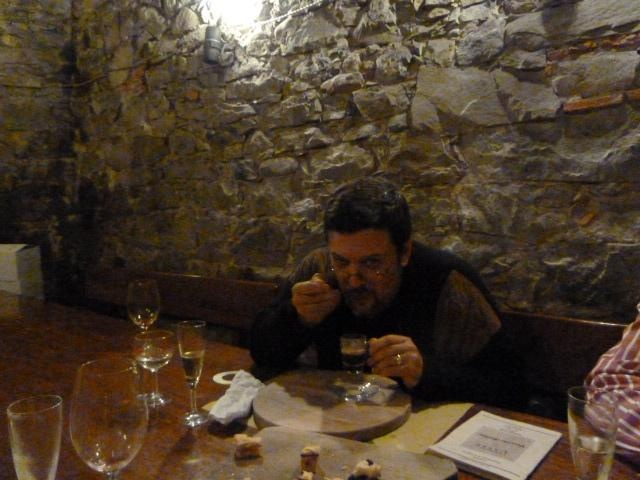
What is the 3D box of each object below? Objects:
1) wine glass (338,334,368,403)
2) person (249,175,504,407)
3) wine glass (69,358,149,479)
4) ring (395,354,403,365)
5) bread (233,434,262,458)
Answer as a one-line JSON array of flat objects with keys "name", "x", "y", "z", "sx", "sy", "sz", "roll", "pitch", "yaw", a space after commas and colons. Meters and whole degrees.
[{"name": "wine glass", "x": 0.116, "y": 0.383, "z": 1.652, "sx": 0.098, "sy": 0.189, "sz": 0.192, "roll": 6, "pitch": 10, "yaw": 7}, {"name": "person", "x": 0.216, "y": 0.201, "z": 2.087, "sx": 1.162, "sy": 0.894, "sz": 0.724, "roll": 2, "pitch": 2, "yaw": 34}, {"name": "wine glass", "x": -0.512, "y": 0.446, "z": 1.261, "sx": 0.162, "sy": 0.322, "sz": 0.218, "roll": 0, "pitch": 11, "yaw": -24}, {"name": "ring", "x": 0.252, "y": 0.381, "z": 1.655, "sx": 0.024, "sy": 0.031, "sz": 0.009, "roll": -3, "pitch": -9, "yaw": 18}, {"name": "bread", "x": -0.188, "y": 0.540, "z": 1.356, "sx": 0.058, "sy": 0.041, "sz": 0.057, "roll": 6, "pitch": 7, "yaw": 18}]
